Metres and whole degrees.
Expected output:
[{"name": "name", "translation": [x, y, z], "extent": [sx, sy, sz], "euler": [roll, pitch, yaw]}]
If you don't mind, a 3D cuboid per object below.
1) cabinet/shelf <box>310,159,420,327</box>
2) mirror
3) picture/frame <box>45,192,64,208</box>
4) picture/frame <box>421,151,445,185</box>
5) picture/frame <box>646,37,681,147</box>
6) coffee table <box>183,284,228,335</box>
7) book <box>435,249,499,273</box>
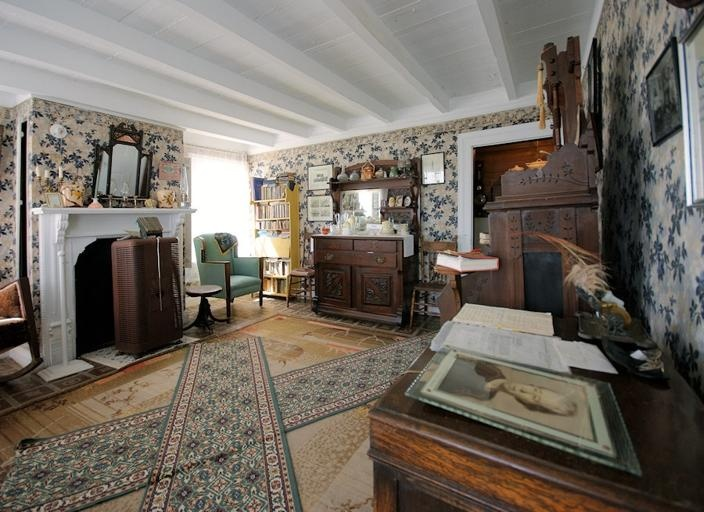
[{"name": "cabinet/shelf", "translation": [0.184, -0.243, 5.503], "extent": [1.402, 1.892, 1.278], "euler": [5, 16, 21]}, {"name": "mirror", "translation": [-2.499, -0.994, 4.576], "extent": [0.161, 0.815, 0.703], "euler": [7, 17, 28]}, {"name": "picture/frame", "translation": [-2.804, -0.517, 3.945], "extent": [0.018, 0.180, 0.163], "euler": [-13, 2, 28]}, {"name": "picture/frame", "translation": [1.040, -1.114, 5.374], "extent": [0.422, 0.527, 0.022], "euler": [5, 9, 34]}, {"name": "picture/frame", "translation": [1.446, -0.748, 1.949], "extent": [0.042, 0.446, 0.562], "euler": [0, -7, 27]}, {"name": "coffee table", "translation": [-1.709, 0.589, 4.913], "extent": [0.492, 0.532, 0.524], "euler": [1, 2, -11]}, {"name": "book", "translation": [0.669, 0.042, 2.457], "extent": [0.352, 0.147, 0.244], "euler": [3, 16, 16]}]
